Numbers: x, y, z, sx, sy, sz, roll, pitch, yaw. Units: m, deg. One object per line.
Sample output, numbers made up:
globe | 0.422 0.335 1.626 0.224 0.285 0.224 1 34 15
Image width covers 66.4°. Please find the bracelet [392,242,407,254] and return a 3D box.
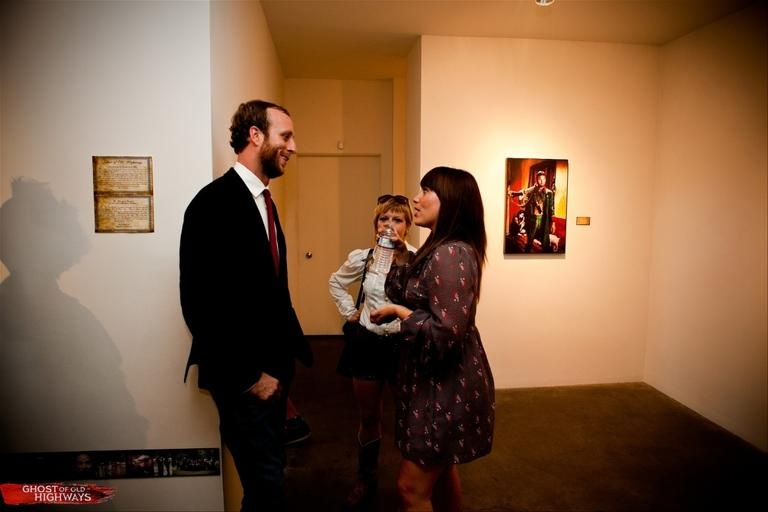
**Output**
bracelet | 0.108 -0.053 3.850 0.053 0.022 0.078 13 -18 -7

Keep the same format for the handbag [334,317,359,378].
handbag | -0.208 0.630 4.003 0.116 0.369 0.146 -8 -15 -38
